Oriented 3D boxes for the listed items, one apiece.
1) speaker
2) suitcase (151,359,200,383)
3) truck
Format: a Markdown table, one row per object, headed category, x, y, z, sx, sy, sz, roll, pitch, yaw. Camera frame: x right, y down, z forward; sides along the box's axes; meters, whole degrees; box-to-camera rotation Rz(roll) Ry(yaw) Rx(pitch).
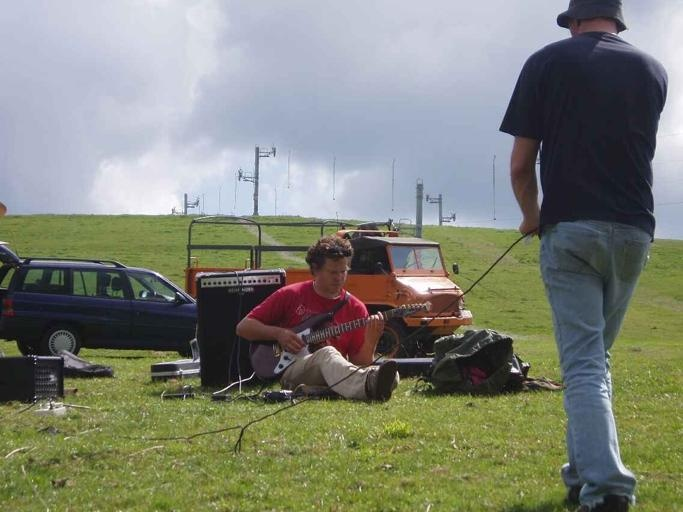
| category | x | y | z | sx | sy | sz | roll | pitch | yaw |
| --- | --- | --- | --- | --- | --- | --- | --- | --- | --- |
| speaker | -1.288 | 0.831 | 13.172 | 1.239 | 1.762 | 1.136 | 0 | -3 | -4 |
| suitcase | -1.925 | 1.363 | 13.583 | 0.471 | 0.211 | 0.733 | -2 | -2 | 30 |
| truck | -0.477 | 0.340 | 19.998 | 5.856 | 3.404 | 3.418 | 0 | 0 | 19 |
